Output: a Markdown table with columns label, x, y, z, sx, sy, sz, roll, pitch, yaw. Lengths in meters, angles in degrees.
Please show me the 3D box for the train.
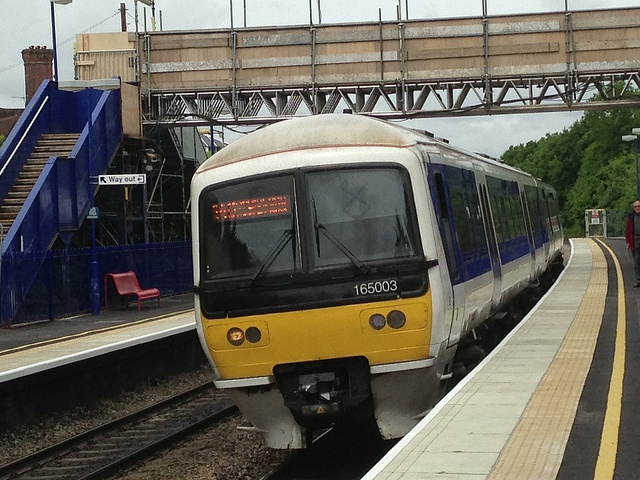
| label | x | y | z | sx | sy | sz | roll | pitch | yaw |
| --- | --- | --- | --- | --- | --- | --- | --- | --- | --- |
| train | 1.109 | 0.312 | 9.137 | 2.264 | 3.995 | 5.527 | 0 | 6 | 39 |
